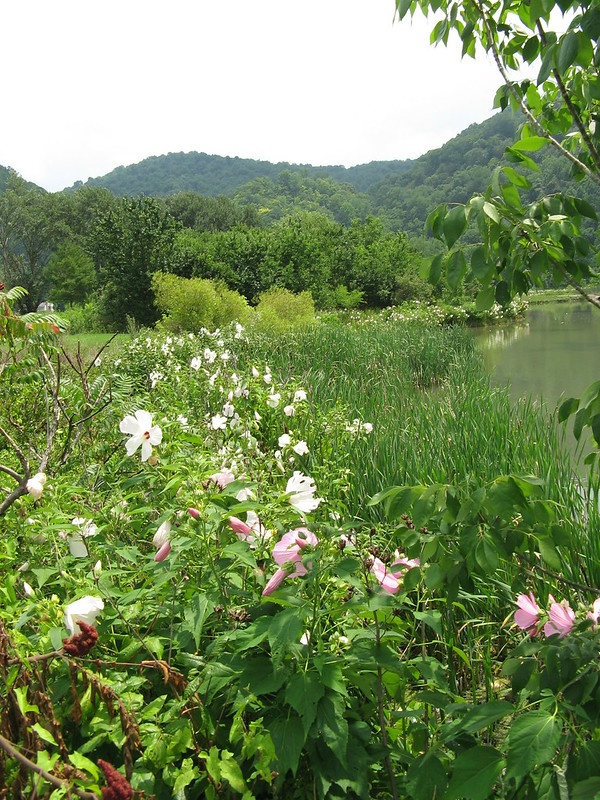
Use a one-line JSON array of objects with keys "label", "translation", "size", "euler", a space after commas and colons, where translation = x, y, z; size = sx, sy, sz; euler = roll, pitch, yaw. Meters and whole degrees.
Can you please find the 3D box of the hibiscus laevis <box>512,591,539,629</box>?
[{"label": "hibiscus laevis", "translation": [0.577, 0.528, 1.529], "size": [0.045, 0.103, 0.094], "euler": [3, -16, -22]}]
